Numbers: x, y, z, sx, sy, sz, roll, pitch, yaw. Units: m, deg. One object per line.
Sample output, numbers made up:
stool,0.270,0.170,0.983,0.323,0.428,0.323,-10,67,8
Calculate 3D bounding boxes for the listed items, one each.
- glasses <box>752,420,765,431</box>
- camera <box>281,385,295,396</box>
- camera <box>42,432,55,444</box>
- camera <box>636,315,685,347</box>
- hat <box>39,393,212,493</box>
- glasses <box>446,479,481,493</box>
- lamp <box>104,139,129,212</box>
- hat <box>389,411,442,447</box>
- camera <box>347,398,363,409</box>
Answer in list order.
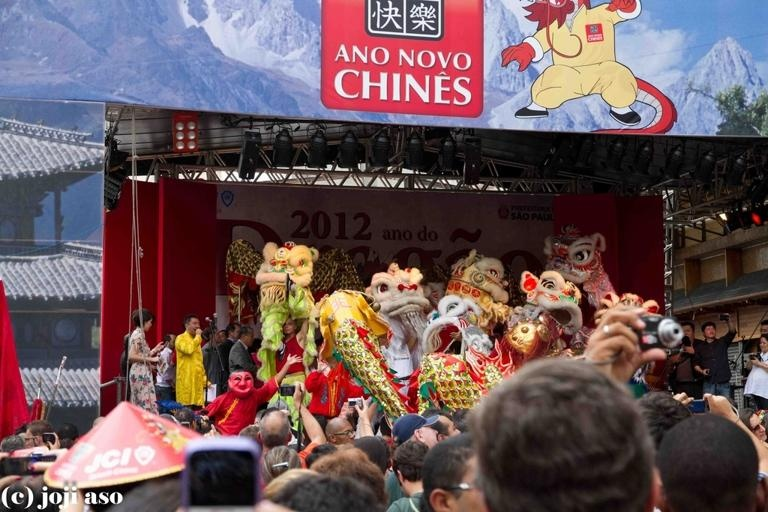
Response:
glasses,3.250,1.480,10.757,0.084,0.059,0.206,7,-12,28
camera,-0.770,1.094,9.993,0.098,0.092,0.143,0,-1,2
camera,-2.628,1.448,9.763,0.094,0.087,0.024,1,4,-5
camera,1.660,0.470,7.557,0.328,0.203,0.187,2,-7,-13
hat,-1.600,1.092,7.787,0.913,0.345,1.121,-7,10,-1
glasses,0.475,1.384,7.420,0.165,0.046,0.159,-4,-5,-6
lamp,-3.305,-0.991,15.220,0.359,0.851,0.646,8,4,-7
hat,0.224,1.252,9.294,0.362,0.169,0.226,-16,1,-11
camera,-0.228,1.175,9.873,0.136,0.087,0.073,-4,-8,21
